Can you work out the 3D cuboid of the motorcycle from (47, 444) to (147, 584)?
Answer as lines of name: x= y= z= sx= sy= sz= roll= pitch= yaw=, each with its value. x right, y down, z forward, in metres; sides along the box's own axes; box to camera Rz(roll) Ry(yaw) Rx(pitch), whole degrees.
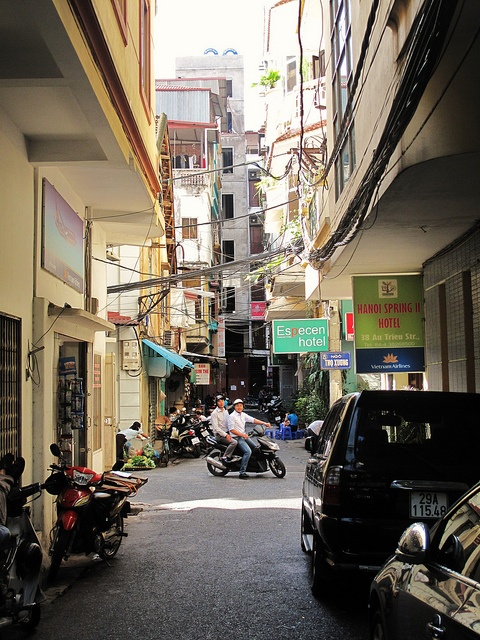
motorcycle: x=-1.575 y=1.861 z=5.861 sx=0.556 sy=1.154 sz=1.518 roll=-3 pitch=-16 yaw=12

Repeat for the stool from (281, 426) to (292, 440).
stool: x=1.930 y=4.681 z=25.005 sx=0.374 sy=0.642 sz=0.405 roll=1 pitch=-8 yaw=-4

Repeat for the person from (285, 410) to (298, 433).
person: x=2.144 y=4.275 z=25.357 sx=0.510 sy=0.756 sz=0.791 roll=-2 pitch=-7 yaw=6

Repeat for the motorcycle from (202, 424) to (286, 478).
motorcycle: x=0.214 y=3.121 z=14.461 sx=1.955 sy=1.544 sz=0.918 roll=-6 pitch=-9 yaw=22

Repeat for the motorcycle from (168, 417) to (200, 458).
motorcycle: x=-1.797 y=3.794 z=19.445 sx=0.567 sy=1.007 sz=1.373 roll=-7 pitch=3 yaw=-23

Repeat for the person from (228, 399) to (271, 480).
person: x=0.130 y=2.743 z=14.229 sx=0.722 sy=1.785 sz=1.100 roll=-2 pitch=-7 yaw=6
